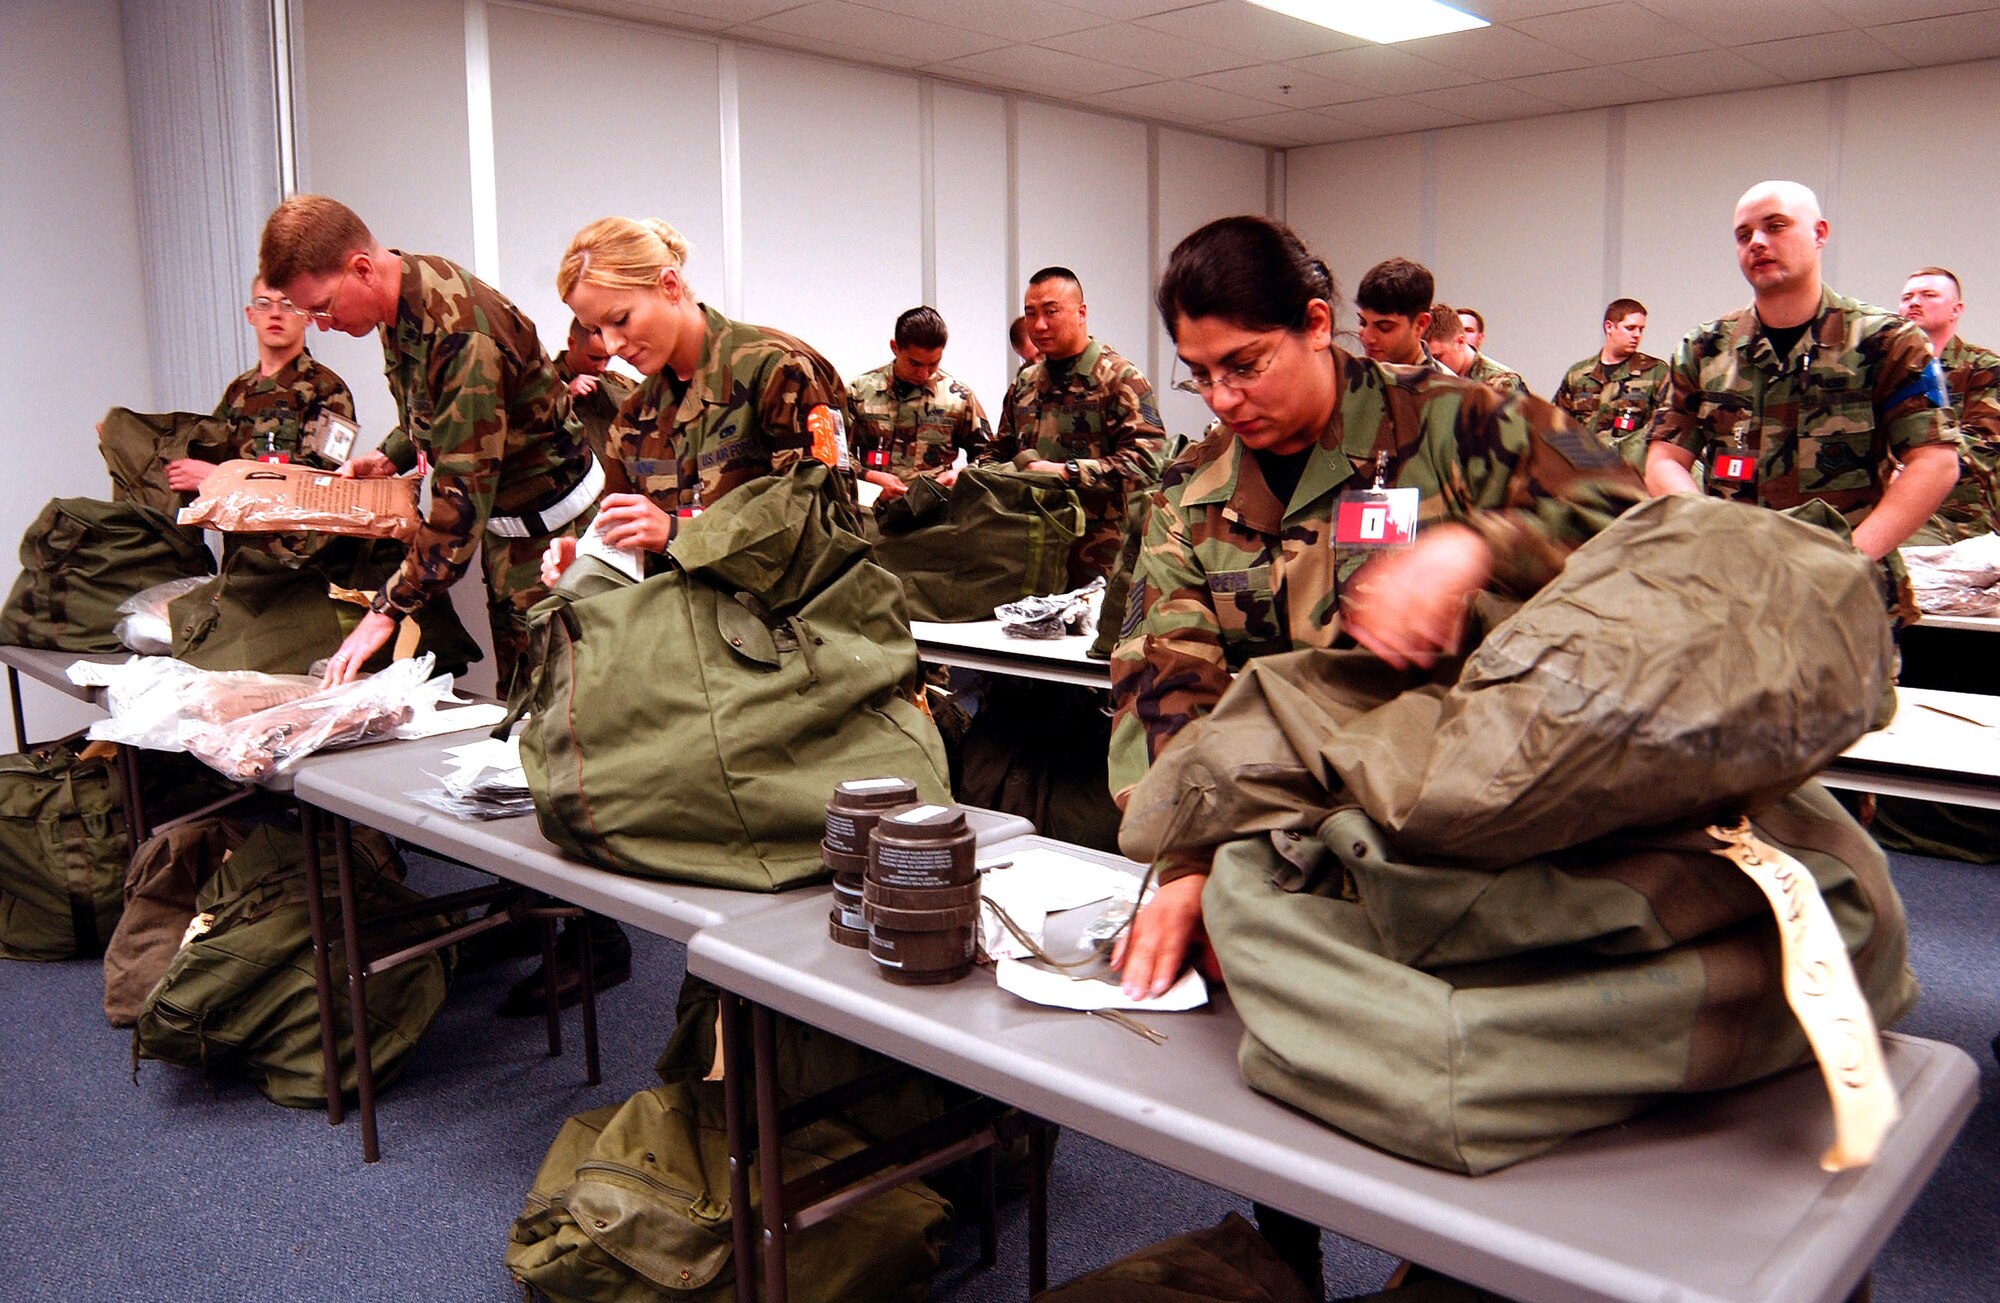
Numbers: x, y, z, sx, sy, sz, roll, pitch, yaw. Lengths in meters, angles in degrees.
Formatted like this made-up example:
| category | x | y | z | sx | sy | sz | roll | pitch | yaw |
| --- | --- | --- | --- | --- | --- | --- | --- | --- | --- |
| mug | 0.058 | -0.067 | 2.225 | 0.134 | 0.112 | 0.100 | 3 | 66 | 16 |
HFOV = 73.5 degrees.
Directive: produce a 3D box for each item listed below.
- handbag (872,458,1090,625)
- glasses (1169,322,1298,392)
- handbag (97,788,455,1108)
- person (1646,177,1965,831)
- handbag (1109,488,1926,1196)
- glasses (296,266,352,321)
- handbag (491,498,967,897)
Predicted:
| category | x | y | z | sx | sy | sz | roll | pitch | yaw |
| --- | --- | --- | --- | --- | --- | --- | --- | --- | --- |
| handbag | -0.062 | -0.367 | 4.462 | 0.623 | 0.280 | 0.494 | 8 | 13 | 36 |
| glasses | 0.386 | -0.503 | 2.303 | 0.197 | 0.128 | 0.124 | 10 | 17 | 37 |
| handbag | -1.956 | 0.782 | 3.682 | 0.995 | 0.689 | 0.392 | 9 | 15 | 19 |
| person | 2.291 | -0.556 | 3.896 | 0.829 | 1.483 | 0.736 | 6 | 14 | 43 |
| handbag | 0.610 | 0.191 | 1.967 | 0.787 | 0.515 | 0.986 | -16 | 29 | -18 |
| glasses | -1.748 | -0.930 | 3.494 | 0.100 | 0.071 | 0.131 | 2 | 4 | 27 |
| handbag | -0.515 | 0.037 | 2.744 | 0.867 | 0.788 | 0.768 | -2 | -3 | -9 |
